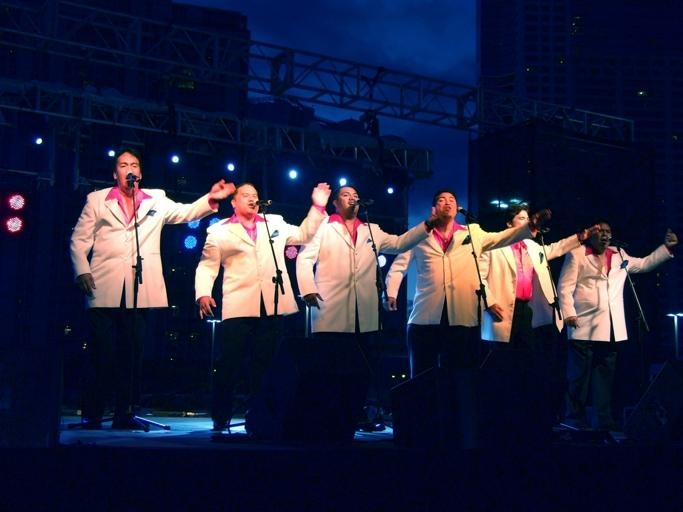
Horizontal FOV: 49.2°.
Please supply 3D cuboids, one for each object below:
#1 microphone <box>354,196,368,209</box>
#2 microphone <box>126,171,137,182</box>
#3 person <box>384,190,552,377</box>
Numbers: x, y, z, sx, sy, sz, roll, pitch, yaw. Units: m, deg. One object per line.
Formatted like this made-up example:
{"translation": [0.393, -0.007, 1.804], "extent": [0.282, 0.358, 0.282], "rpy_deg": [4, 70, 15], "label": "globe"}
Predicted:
{"translation": [0.160, -0.453, 6.367], "extent": [0.054, 0.064, 0.205], "rpy_deg": [33, -1, -12], "label": "microphone"}
{"translation": [-1.687, -0.626, 5.956], "extent": [0.129, 0.090, 0.075], "rpy_deg": [-4, -4, 41], "label": "microphone"}
{"translation": [1.090, 0.405, 6.631], "extent": [1.295, 2.034, 0.548], "rpy_deg": [8, 26, 18], "label": "person"}
